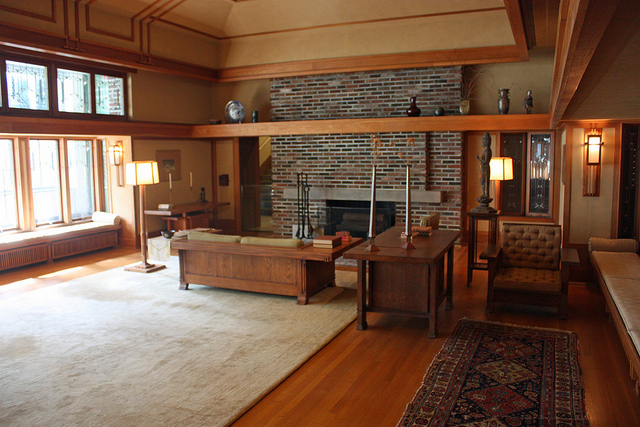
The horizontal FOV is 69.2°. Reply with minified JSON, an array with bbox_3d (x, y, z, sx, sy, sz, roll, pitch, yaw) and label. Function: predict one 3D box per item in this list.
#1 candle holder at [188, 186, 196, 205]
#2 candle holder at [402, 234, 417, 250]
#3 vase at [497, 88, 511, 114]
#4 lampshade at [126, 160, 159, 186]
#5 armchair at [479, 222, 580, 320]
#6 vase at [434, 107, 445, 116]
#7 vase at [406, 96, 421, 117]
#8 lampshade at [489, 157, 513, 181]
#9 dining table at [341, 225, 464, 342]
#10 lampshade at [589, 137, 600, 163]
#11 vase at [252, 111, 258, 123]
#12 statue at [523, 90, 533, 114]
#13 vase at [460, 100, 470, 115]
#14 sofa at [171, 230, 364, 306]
[{"bbox_3d":[-3.015,-0.423,10.778,0.125,0.404,0.444,-4,6,-15],"label":"candle holder"},{"bbox_3d":[1.087,0.355,5.723,0.162,0.210,0.164,0,3,40],"label":"candle holder"},{"bbox_3d":[3.475,-2.116,8.761,0.185,0.489,0.262,-1,6,19],"label":"vase"},{"bbox_3d":[-3.018,-0.683,7.925,0.431,0.345,0.481,-1,8,-1],"label":"lampshade"},{"bbox_3d":[2.878,0.751,6.363,1.289,0.984,1.076,0,9,17],"label":"armchair"},{"bbox_3d":[2.372,-2.018,9.203,0.195,0.162,0.223,-1,6,14],"label":"vase"},{"bbox_3d":[1.873,-2.121,9.263,0.274,0.439,0.389,-2,6,11],"label":"vase"},{"bbox_3d":[2.758,-0.683,7.067,0.318,0.317,0.192,-2,6,9],"label":"lampshade"},{"bbox_3d":[1.198,0.943,6.240,1.108,0.974,2.067,0,3,23],"label":"dining table"},{"bbox_3d":[4.089,-0.943,6.911,0.142,0.373,0.043,-3,6,-4],"label":"lampshade"},{"bbox_3d":[-1.487,-2.199,10.582,0.098,0.237,0.194,-4,6,-13],"label":"vase"},{"bbox_3d":[3.818,-2.037,8.519,0.112,0.441,0.269,1,7,31],"label":"statue"},{"bbox_3d":[2.805,-2.057,8.999,0.166,0.293,0.225,-1,6,16],"label":"vase"},{"bbox_3d":[-0.881,0.765,6.897,2.608,1.000,0.684,-1,6,17],"label":"sofa"}]
